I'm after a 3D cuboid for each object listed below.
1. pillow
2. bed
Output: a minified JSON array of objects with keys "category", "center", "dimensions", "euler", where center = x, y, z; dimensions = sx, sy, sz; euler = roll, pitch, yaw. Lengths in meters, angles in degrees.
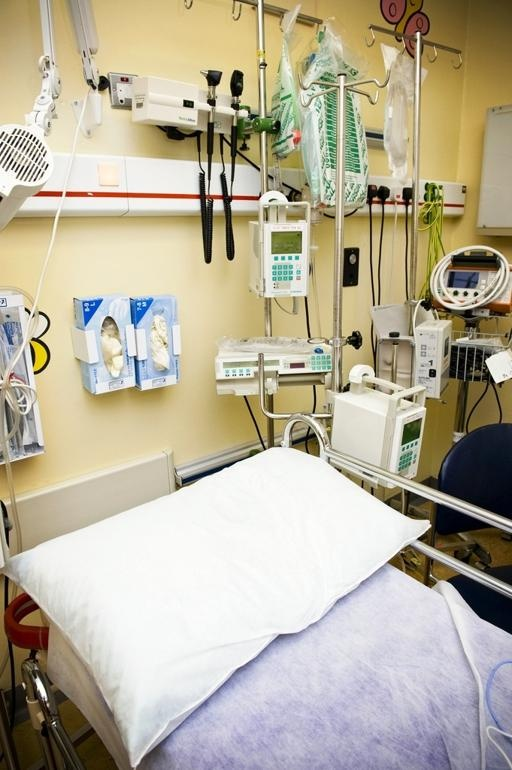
[{"category":"pillow","center":[-0.009,0.342,0.979],"dimensions":[0.599,0.129,0.407],"euler":[-15,30,-43]},{"category":"bed","center":[-0.030,0.339,0.981],"dimensions":[0.576,0.173,0.534],"euler":[-15,32,-36]}]
